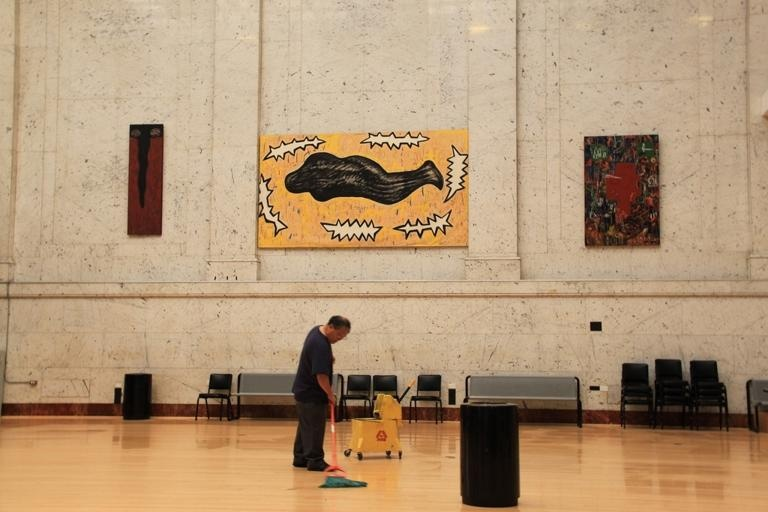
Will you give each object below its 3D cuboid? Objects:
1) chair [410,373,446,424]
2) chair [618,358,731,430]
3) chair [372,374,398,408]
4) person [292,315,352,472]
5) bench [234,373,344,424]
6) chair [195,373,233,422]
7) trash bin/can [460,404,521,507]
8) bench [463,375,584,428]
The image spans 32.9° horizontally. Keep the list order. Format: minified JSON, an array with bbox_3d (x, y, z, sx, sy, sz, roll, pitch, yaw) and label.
[{"bbox_3d":[1.017,3.397,31.065,0.695,1.110,0.688,1,-5,8],"label":"chair"},{"bbox_3d":[6.826,3.294,30.736,2.528,1.669,0.995,-3,-12,12],"label":"chair"},{"bbox_3d":[0.056,3.229,31.442,0.570,0.984,0.593,0,-5,1],"label":"chair"},{"bbox_3d":[-1.313,2.792,26.271,1.198,3.019,1.181,0,-9,9],"label":"person"},{"bbox_3d":[-2.753,3.508,32.158,2.539,1.124,1.077,-1,-5,7],"label":"bench"},{"bbox_3d":[-4.129,3.429,31.659,0.899,1.146,0.844,0,-12,-4],"label":"chair"},{"bbox_3d":[2.014,3.792,24.799,1.007,1.867,1.130,3,-5,4],"label":"trash bin/can"},{"bbox_3d":[3.333,3.193,31.199,4.149,1.724,1.086,1,-1,1],"label":"bench"}]
